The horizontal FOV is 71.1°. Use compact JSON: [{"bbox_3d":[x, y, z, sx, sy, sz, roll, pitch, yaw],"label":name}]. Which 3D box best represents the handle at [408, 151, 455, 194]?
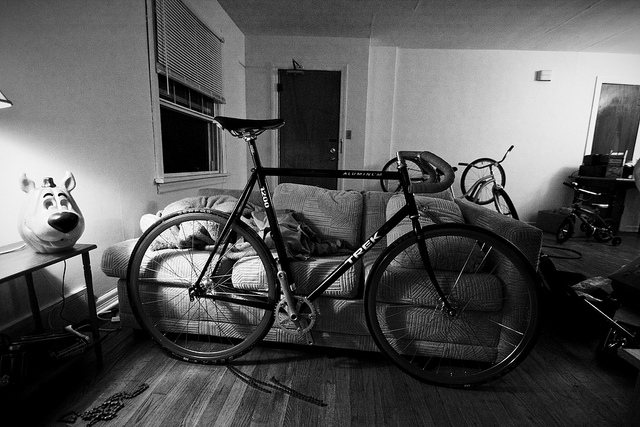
[{"bbox_3d":[0.770,-0.279,3.108,0.300,0.286,0.134,2,13,11],"label":"handle"}]

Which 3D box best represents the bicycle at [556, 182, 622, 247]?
[{"bbox_3d":[3.407,0.018,5.675,0.929,0.736,0.504,1,15,-12],"label":"bicycle"}]

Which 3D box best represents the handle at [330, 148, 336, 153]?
[{"bbox_3d":[0.182,-0.894,6.310,0.070,0.072,0.018,2,0,-9],"label":"handle"}]

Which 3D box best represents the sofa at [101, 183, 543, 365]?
[{"bbox_3d":[-0.012,0.487,3.254,3.169,1.517,0.522,4,8,8],"label":"sofa"}]

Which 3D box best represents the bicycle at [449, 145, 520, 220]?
[{"bbox_3d":[2.141,-0.460,5.751,1.109,0.738,0.695,-14,9,18],"label":"bicycle"}]

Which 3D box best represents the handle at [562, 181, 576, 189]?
[{"bbox_3d":[3.516,-0.407,6.319,0.187,0.049,0.043,33,41,16],"label":"handle"}]

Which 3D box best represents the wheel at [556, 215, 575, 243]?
[{"bbox_3d":[3.092,0.200,5.610,0.079,0.317,0.315,8,-12,0],"label":"wheel"}]

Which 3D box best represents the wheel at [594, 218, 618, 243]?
[{"bbox_3d":[3.594,0.206,5.595,0.295,0.299,0.072,-50,26,-13],"label":"wheel"}]

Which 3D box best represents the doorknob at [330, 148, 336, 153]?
[{"bbox_3d":[0.183,-0.896,6.310,0.064,0.065,0.017,1,-4,-6],"label":"doorknob"}]

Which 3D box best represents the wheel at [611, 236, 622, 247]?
[{"bbox_3d":[3.677,0.345,5.541,0.125,0.128,0.029,-18,2,2],"label":"wheel"}]

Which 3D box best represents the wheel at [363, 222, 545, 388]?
[{"bbox_3d":[0.926,0.626,3.187,1.221,1.133,0.385,-1,12,-1],"label":"wheel"}]
